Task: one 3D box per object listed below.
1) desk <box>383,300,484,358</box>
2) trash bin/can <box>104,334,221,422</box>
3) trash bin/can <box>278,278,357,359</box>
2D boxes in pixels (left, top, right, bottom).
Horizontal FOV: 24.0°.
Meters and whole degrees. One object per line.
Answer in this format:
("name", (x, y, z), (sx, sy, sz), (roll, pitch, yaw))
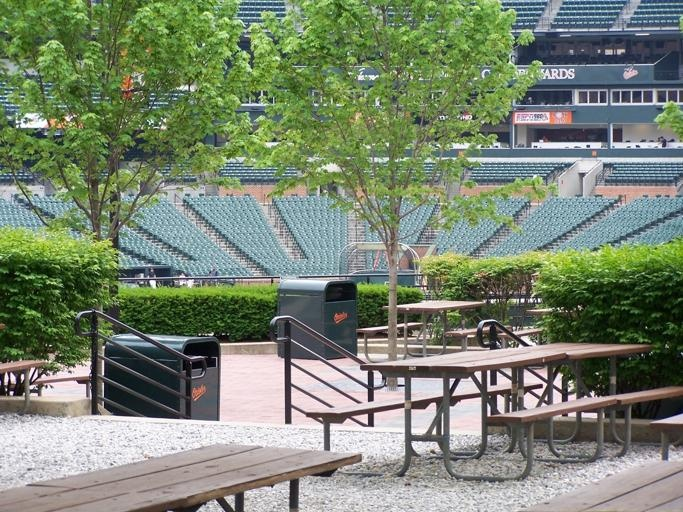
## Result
("desk", (1.685, 1.511, 29.506), (1.109, 0.922, 2.079), (0, 1, 21))
("trash bin/can", (-2.735, 1.867, 24.617), (1.764, 1.334, 1.025), (-1, 2, -6))
("trash bin/can", (-0.443, 1.208, 30.870), (1.514, 1.542, 0.982), (0, 2, -2))
